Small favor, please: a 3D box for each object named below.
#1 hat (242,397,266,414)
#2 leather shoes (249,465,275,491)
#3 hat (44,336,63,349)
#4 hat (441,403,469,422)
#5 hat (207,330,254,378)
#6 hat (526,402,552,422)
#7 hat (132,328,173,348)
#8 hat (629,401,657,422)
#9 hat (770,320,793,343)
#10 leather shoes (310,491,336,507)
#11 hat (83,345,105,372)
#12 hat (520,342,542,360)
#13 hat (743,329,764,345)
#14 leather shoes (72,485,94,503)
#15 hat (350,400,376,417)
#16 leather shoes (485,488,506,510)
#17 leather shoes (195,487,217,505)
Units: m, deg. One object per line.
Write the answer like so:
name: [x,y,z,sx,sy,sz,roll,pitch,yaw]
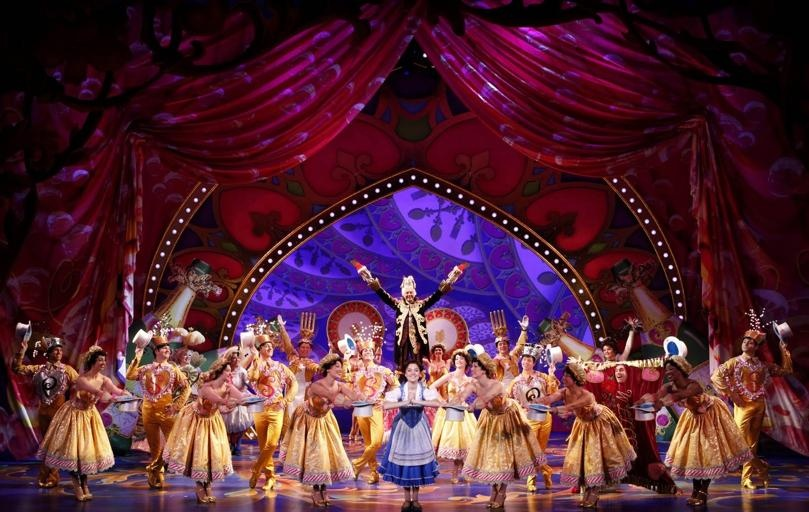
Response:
hat: [-1.662,1.641,6.828,0.224,0.209,0.243,-6,-17,27]
leather shoes: [-1.740,2.725,7.557,0.256,0.369,0.130,-6,-1,14]
hat: [-4.479,1.099,7.935,0.211,0.109,0.227,2,-23,-5]
hat: [0.530,1.684,6.702,0.239,0.161,0.240,4,-16,-14]
hat: [-2.442,1.371,8.624,0.465,0.376,0.698,26,-14,3]
hat: [1.472,1.692,6.696,0.181,0.183,0.319,-5,-8,44]
hat: [-3.495,1.144,8.609,0.463,0.172,0.396,-18,24,17]
hat: [2.706,1.745,7.034,0.275,0.250,0.272,-14,-20,32]
hat: [4.794,0.945,7.884,0.193,0.248,0.195,-21,-27,31]
leather shoes: [-0.909,2.679,6.836,0.224,0.138,0.379,1,-6,-9]
hat: [-3.653,1.224,7.313,0.247,0.307,0.306,1,-10,-12]
hat: [1.826,1.375,8.962,0.264,0.166,0.237,-2,-19,21]
hat: [4.300,0.999,7.618,0.208,0.103,0.200,27,-3,-28]
leather shoes: [-3.574,2.646,6.869,0.270,0.193,0.106,-9,-14,35]
hat: [-0.454,1.649,6.631,0.214,0.162,0.250,1,-6,-6]
leather shoes: [0.982,2.598,6.693,0.194,0.241,0.251,0,-6,5]
leather shoes: [-2.143,2.610,6.704,0.108,0.133,0.311,3,-14,-26]
